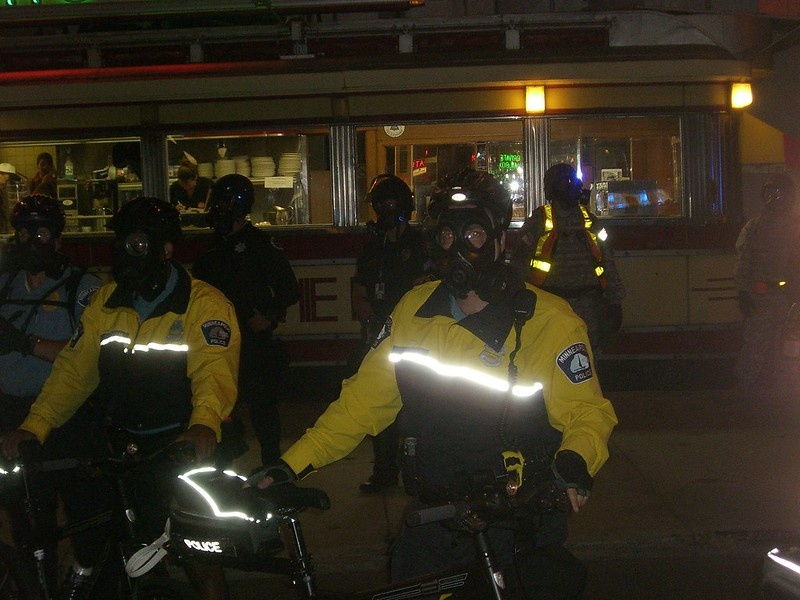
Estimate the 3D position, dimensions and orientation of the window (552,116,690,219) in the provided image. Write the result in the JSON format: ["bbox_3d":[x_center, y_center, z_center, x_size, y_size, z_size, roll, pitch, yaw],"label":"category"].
[{"bbox_3d":[2.139,-1.297,8.784,1.093,0.907,0.084,-1,3,0],"label":"window"}]

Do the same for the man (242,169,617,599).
[{"bbox_3d":[0.297,0.395,4.207,1.258,1.875,0.873,5,14,32],"label":"man"}]

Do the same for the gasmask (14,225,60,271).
[{"bbox_3d":[-2.100,-0.287,5.314,0.204,0.259,0.268,0,7,-7],"label":"gasmask"}]

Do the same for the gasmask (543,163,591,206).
[{"bbox_3d":[1.237,-0.870,6.941,0.262,0.354,0.335,-4,10,-13],"label":"gasmask"}]

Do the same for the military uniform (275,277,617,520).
[{"bbox_3d":[0.247,0.465,4.226,1.466,0.810,1.068,2,19,3],"label":"military uniform"}]

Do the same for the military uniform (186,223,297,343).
[{"bbox_3d":[-1.107,-0.100,7.021,0.851,0.757,0.480,-21,-16,28],"label":"military uniform"}]

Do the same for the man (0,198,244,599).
[{"bbox_3d":[-1.407,0.542,4.861,1.091,2.074,0.824,-2,12,3],"label":"man"}]

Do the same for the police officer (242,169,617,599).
[{"bbox_3d":[0.295,0.394,4.208,1.263,1.875,0.873,5,14,32],"label":"police officer"}]

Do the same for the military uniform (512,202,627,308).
[{"bbox_3d":[1.209,-0.357,7.227,1.095,1.123,0.634,0,-2,-5],"label":"military uniform"}]

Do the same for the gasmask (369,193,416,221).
[{"bbox_3d":[-0.056,-0.683,7.086,0.183,0.253,0.190,-5,-12,12],"label":"gasmask"}]

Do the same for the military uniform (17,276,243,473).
[{"bbox_3d":[-1.374,0.289,4.844,1.071,0.770,0.848,6,11,18],"label":"military uniform"}]

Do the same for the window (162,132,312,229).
[{"bbox_3d":[-1.597,-1.165,9.120,1.298,0.960,0.724,-3,7,-13],"label":"window"}]

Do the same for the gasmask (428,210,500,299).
[{"bbox_3d":[0.334,-0.268,4.395,0.312,0.422,0.435,-3,6,17],"label":"gasmask"}]

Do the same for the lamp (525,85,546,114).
[{"bbox_3d":[1.308,-1.947,8.893,0.222,0.322,0.224,-2,8,-29],"label":"lamp"}]

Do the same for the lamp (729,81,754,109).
[{"bbox_3d":[3.387,-2.023,9.049,0.244,0.279,0.251,-1,11,-5],"label":"lamp"}]

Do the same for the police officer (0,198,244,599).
[{"bbox_3d":[-1.406,0.543,4.854,1.098,2.074,0.834,-2,12,0],"label":"police officer"}]
